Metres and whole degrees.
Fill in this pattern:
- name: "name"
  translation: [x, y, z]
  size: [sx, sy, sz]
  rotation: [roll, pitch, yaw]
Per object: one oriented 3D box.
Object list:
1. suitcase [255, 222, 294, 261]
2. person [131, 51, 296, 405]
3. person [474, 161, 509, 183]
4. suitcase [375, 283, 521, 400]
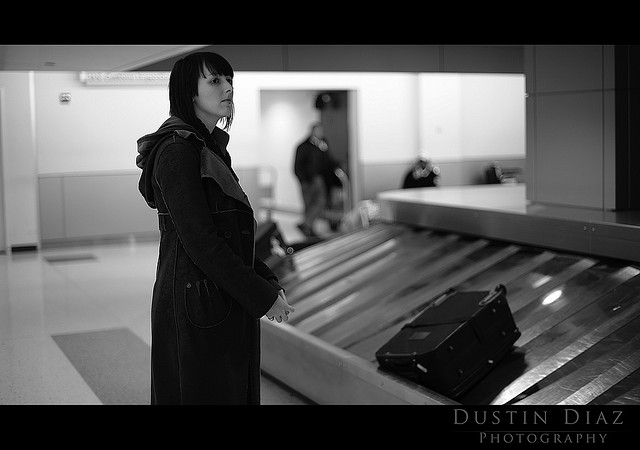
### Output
- name: "suitcase"
  translation: [-0.476, 0.142, 4.076]
  size: [0.237, 0.349, 0.580]
  rotation: [4, 12, 27]
- name: "person"
  translation: [-0.365, 0.062, 1.416]
  size: [0.483, 1.219, 0.323]
  rotation: [-5, 12, -18]
- name: "person"
  translation: [3.356, -0.977, 8.302]
  size: [0.450, 0.374, 1.014]
  rotation: [-3, 11, -6]
- name: "suitcase"
  translation: [0.596, 0.506, 2.034]
  size: [0.576, 0.380, 0.402]
  rotation: [-10, 14, -36]
